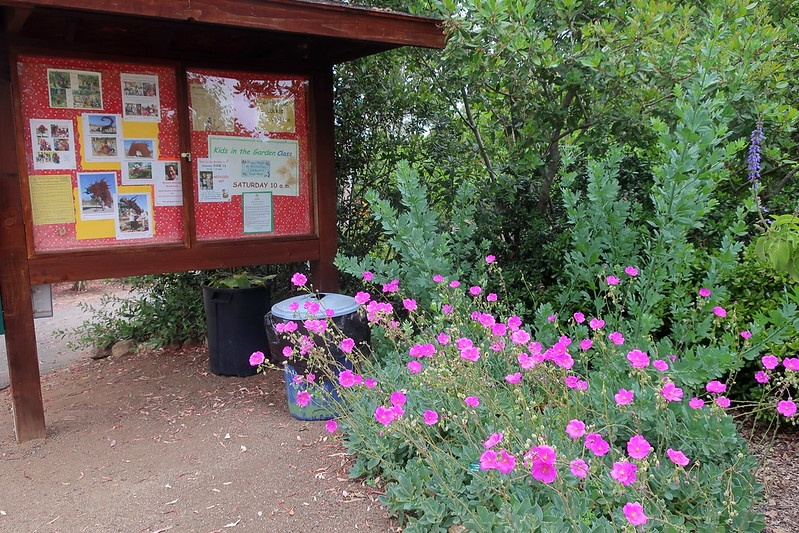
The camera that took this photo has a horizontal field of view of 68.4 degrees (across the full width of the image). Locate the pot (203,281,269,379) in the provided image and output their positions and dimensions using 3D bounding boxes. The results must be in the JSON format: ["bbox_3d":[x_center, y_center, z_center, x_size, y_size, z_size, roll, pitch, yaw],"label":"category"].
[{"bbox_3d":[-1.604,0.607,6.308,0.842,0.953,0.890,0,3,0],"label":"pot"}]
